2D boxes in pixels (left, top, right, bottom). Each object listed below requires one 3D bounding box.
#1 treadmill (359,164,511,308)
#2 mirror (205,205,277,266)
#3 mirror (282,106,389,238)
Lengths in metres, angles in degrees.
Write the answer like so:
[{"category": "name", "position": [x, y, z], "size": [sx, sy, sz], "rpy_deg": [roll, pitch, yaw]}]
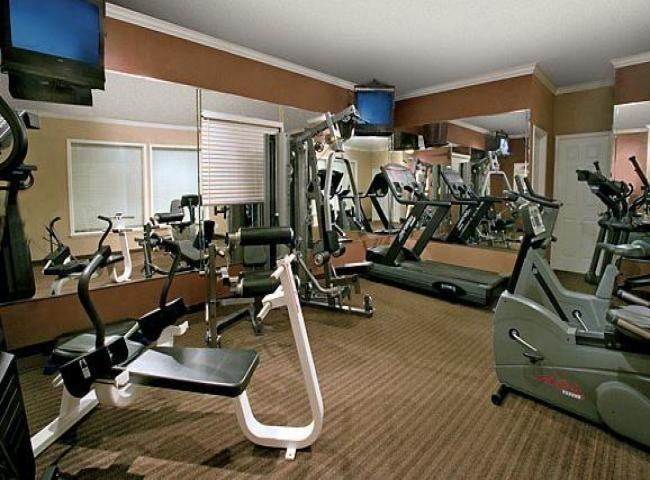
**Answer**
[{"category": "treadmill", "position": [1.405, -0.137, 6.512], "size": [0.607, 1.748, 2.047], "rpy_deg": [-8, 12, -41]}, {"category": "mirror", "position": [-1.027, -0.036, 5.828], "size": [0.677, 0.764, 0.533], "rpy_deg": [-2, 9, -11]}, {"category": "mirror", "position": [0.074, -0.844, 6.427], "size": [1.104, 1.869, 2.736], "rpy_deg": [0, 9, 6]}]
